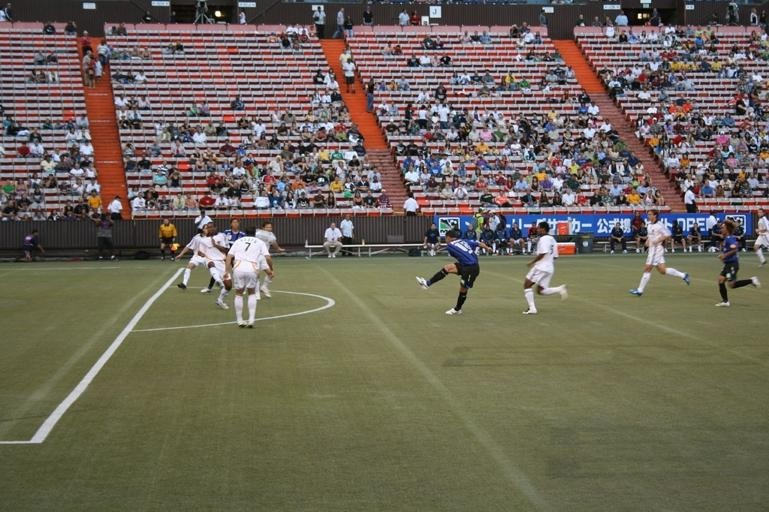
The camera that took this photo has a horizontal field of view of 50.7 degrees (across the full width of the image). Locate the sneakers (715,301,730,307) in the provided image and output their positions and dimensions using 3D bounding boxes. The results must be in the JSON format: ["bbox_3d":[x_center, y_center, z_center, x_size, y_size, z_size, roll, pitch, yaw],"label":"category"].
[{"bbox_3d":[8.678,1.227,20.907,0.254,0.112,0.089,4,34,36],"label":"sneakers"}]

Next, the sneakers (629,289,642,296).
[{"bbox_3d":[7.013,1.029,22.730,0.140,0.144,0.281,3,12,-41],"label":"sneakers"}]

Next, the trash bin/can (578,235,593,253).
[{"bbox_3d":[9.793,-0.617,39.688,0.792,0.924,0.816,-1,2,8],"label":"trash bin/can"}]

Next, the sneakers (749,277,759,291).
[{"bbox_3d":[10.412,0.800,22.965,0.145,0.167,0.381,-28,37,27],"label":"sneakers"}]

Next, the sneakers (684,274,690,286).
[{"bbox_3d":[8.992,0.714,24.270,0.183,0.420,0.153,-5,50,15],"label":"sneakers"}]

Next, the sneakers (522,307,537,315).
[{"bbox_3d":[3.494,1.328,19.697,0.321,0.161,0.162,2,3,39],"label":"sneakers"}]

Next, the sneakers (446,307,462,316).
[{"bbox_3d":[1.692,1.346,19.725,0.411,0.185,0.154,4,2,9],"label":"sneakers"}]
